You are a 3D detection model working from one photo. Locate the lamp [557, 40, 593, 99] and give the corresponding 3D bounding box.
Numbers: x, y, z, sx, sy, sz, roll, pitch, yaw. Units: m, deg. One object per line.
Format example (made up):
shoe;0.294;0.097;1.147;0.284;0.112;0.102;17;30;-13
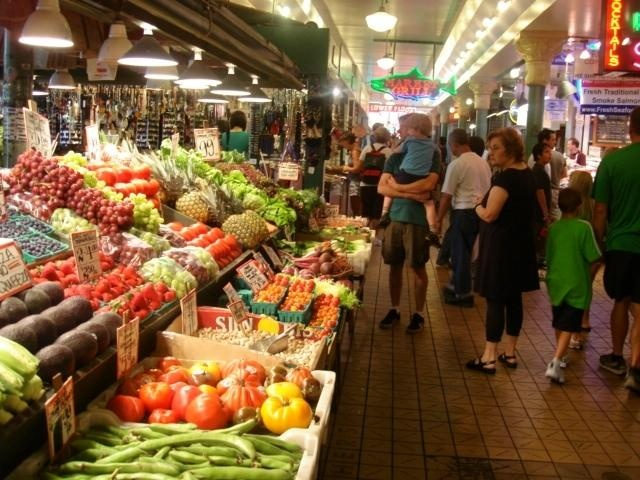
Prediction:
lamp;6.463;-4.359;11.643;0.696;2.078;0.850;4;14;21
